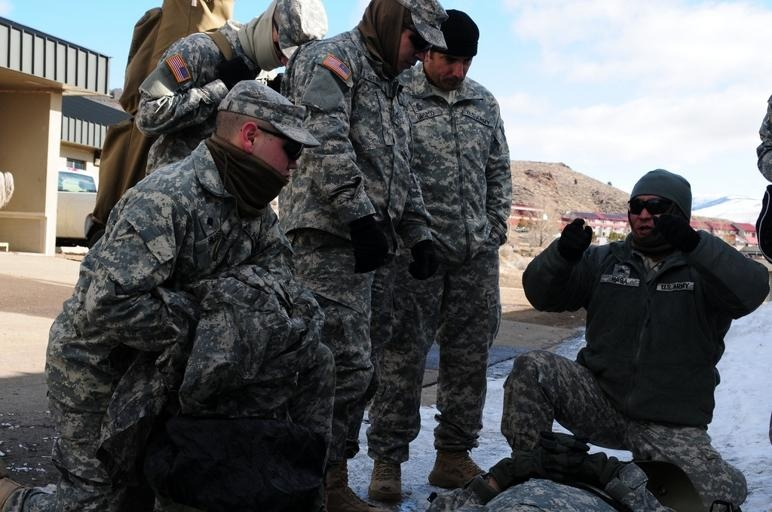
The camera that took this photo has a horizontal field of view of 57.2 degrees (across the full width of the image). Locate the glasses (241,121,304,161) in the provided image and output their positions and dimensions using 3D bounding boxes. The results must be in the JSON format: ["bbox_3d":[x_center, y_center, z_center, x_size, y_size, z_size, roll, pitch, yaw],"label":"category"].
[{"bbox_3d":[-0.529,-0.522,3.360,0.211,0.065,0.155,27,-2,-10],"label":"glasses"}]

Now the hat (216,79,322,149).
[{"bbox_3d":[-0.571,-0.699,3.464,0.551,0.244,0.368,13,0,-16],"label":"hat"}]

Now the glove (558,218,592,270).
[{"bbox_3d":[1.060,-0.089,3.983,0.176,0.239,0.092,50,-17,-24],"label":"glove"}]

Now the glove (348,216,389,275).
[{"bbox_3d":[-0.094,-0.067,3.689,0.180,0.294,0.120,3,-3,14],"label":"glove"}]

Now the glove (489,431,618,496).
[{"bbox_3d":[0.778,0.947,3.257,0.383,0.164,0.322,3,-7,-10],"label":"glove"}]

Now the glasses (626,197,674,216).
[{"bbox_3d":[1.525,-0.292,4.091,0.146,0.055,0.155,3,-8,27],"label":"glasses"}]

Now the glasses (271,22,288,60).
[{"bbox_3d":[-0.607,-1.250,4.152,0.116,0.160,0.056,-24,19,-29],"label":"glasses"}]
